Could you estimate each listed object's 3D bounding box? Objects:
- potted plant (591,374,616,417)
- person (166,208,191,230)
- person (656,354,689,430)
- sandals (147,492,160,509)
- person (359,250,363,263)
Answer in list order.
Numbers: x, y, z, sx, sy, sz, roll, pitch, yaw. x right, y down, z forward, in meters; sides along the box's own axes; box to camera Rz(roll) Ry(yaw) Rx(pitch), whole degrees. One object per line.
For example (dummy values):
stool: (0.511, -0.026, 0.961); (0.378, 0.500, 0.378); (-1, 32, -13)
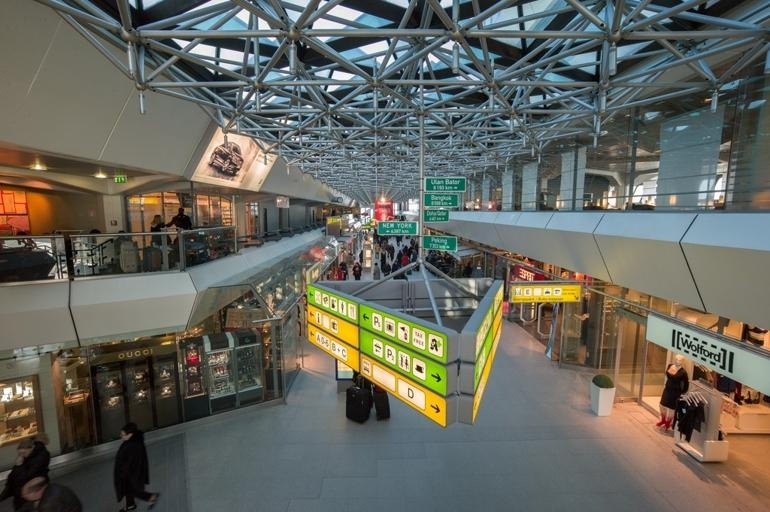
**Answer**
potted plant: (7.777, 4.986, 17.309); (0.743, 1.365, 0.538); (0, 4, 20)
person: (-7.441, -1.430, 17.657); (0.487, 0.725, 0.862); (-4, 5, -34)
person: (9.735, 4.703, 16.350); (0.895, 2.480, 0.947); (1, 5, 30)
sandals: (-6.653, 6.999, 13.808); (0.261, 0.610, 0.194); (29, 12, 40)
person: (-2.514, -0.073, 51.600); (0.490, 1.219, 1.662); (-1, 4, -3)
